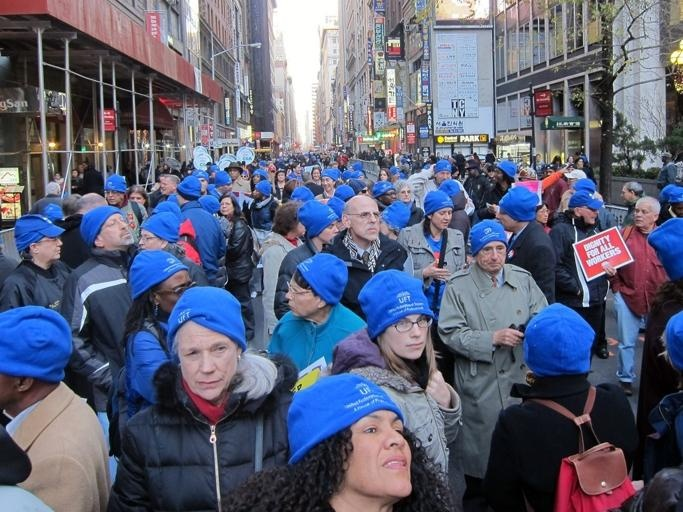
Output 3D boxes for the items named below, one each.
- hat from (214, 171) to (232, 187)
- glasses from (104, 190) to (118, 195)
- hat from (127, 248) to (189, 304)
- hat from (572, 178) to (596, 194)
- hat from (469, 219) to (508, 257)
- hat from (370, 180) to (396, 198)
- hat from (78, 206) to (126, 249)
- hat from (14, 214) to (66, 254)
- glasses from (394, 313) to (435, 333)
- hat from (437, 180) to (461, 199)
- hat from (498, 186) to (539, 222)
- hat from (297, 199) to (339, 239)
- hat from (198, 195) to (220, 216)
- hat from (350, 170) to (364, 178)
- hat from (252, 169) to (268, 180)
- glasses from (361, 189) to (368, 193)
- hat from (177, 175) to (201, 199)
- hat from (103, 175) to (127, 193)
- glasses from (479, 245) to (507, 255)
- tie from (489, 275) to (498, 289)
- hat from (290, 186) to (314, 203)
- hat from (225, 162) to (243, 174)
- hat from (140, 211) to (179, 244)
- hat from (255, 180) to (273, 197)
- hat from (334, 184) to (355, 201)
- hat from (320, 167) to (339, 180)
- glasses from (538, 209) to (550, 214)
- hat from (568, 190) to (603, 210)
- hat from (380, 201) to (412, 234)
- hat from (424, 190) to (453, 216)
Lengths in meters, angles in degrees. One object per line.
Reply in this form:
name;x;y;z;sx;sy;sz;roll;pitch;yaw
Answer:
hat;-2.312;-1.530;11.960;0.310;0.278;0.263;-8;15;-19
glasses;-3.542;-1.002;9.508;0.225;0.078;0.111;-6;11;-12
hat;-1.379;0.161;4.565;0.340;0.329;0.344;-5;8;3
hat;2.944;-0.870;7.540;0.216;0.186;0.332;4;1;-4
hat;1.261;-0.194;5.327;0.247;0.309;0.339;-12;7;16
hat;0.641;-1.111;10.042;0.287;0.246;0.289;1;1;25
hat;-2.353;-0.291;5.990;0.372;0.374;0.225;-6;10;-15
hat;-3.179;-0.282;6.457;0.447;0.313;0.307;-17;12;-12
glasses;0.465;0.414;3.833;0.308;0.103;0.098;-12;14;-36
hat;1.616;-1.034;9.161;0.379;0.246;0.580;-2;13;6
hat;1.883;-0.559;6.554;0.399;0.318;0.302;17;42;42
hat;-0.246;-0.392;6.327;0.373;0.404;0.316;8;6;-2
hat;-2.144;-0.857;10.068;0.243;0.284;0.352;25;9;5
hat;0.388;-2.211;16.422;0.524;0.274;0.801;-2;6;1
hat;-1.997;-2.058;15.044;0.443;0.219;0.633;4;-6;-3
glasses;0.439;-1.319;12.430;0.090;0.079;0.097;0;-3;-2
hat;-2.315;-1.042;9.402;0.297;0.323;0.365;17;4;-32
hat;-3.554;-1.140;9.592;0.269;0.296;0.396;7;1;-5
glasses;1.261;-0.055;5.146;0.104;0.057;0.132;-2;-13;2
tie;1.282;0.210;5.219;0.031;0.097;0.064;-4;0;42
hat;-0.607;-0.941;9.221;0.335;0.261;0.510;-1;8;1
hat;-2.993;-2.449;16.964;0.390;0.196;0.488;-2;2;-11
hat;-1.880;-0.279;6.363;0.375;0.321;0.244;-8;11;-20
hat;-1.582;-1.396;12.340;0.238;0.311;0.328;-6;34;-35
hat;0.026;-1.053;10.010;0.329;0.326;0.500;1;10;-1
hat;-0.268;-2.008;14.893;0.322;0.185;0.470;2;5;2
glasses;2.811;-0.645;8.589;0.204;0.098;0.084;-14;15;-42
hat;2.923;-0.680;7.378;0.314;0.194;0.218;6;10;15
hat;0.665;-0.485;7.664;0.326;0.374;0.440;1;12;22
hat;1.044;-0.621;6.756;0.247;0.248;0.262;-9;21;-30
